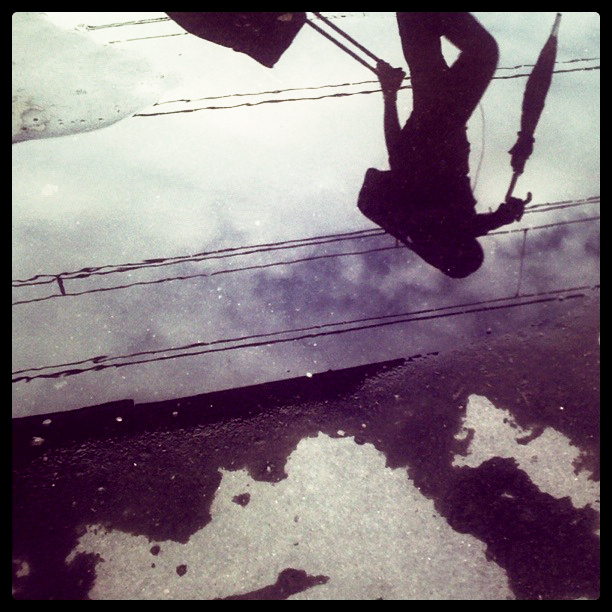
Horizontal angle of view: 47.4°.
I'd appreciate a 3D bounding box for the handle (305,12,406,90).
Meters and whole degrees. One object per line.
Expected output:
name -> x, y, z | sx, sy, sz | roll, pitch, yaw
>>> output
handle -> 0.542, -2.848, 7.728 | 1.344, 0.120, 0.226 | 39, 73, 9
